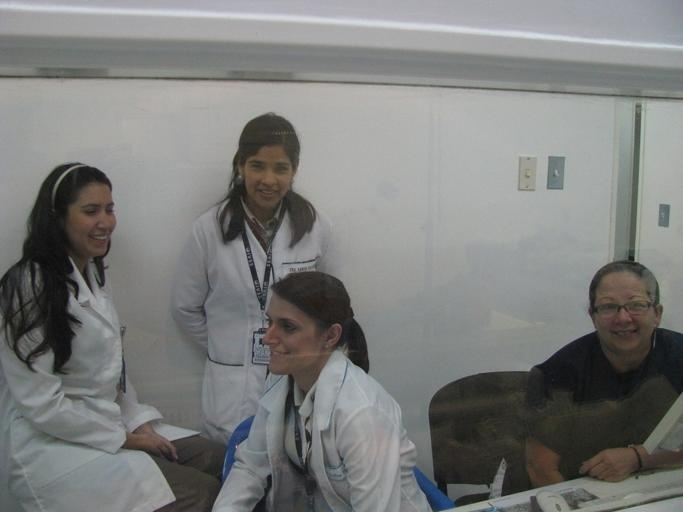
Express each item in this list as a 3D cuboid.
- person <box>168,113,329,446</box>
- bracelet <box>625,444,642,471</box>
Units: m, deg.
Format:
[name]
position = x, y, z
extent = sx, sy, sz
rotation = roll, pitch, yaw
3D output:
[person]
position = -0.260, 0.223, 1.687
extent = 0.435, 1.200, 0.402
rotation = -2, 17, -17
[bracelet]
position = 1.019, 0.710, 1.967
extent = 0.067, 0.067, 0.016
rotation = 24, -20, -37
